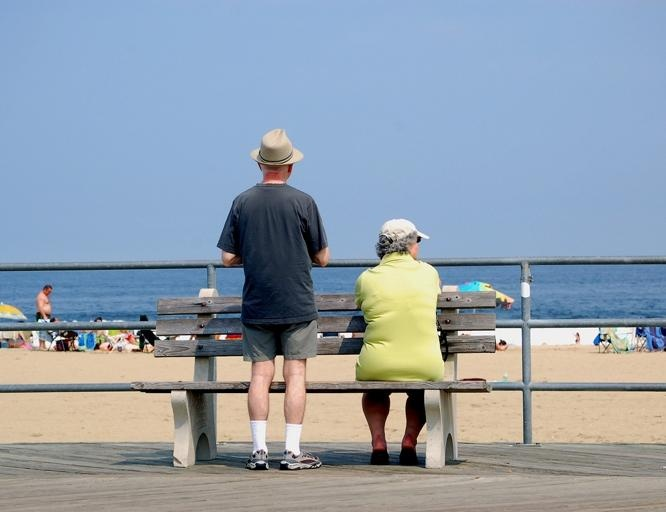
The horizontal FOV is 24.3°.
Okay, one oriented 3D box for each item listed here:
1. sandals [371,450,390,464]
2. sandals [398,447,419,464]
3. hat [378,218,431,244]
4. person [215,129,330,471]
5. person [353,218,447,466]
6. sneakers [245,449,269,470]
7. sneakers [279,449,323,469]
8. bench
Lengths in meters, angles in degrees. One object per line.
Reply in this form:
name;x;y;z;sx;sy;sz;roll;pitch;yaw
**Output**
sandals;0.424;1.769;13.619;0.173;0.136;0.182;-3;-6;1
sandals;0.686;1.758;13.629;0.171;0.157;0.092;-2;-6;-7
hat;0.630;-0.223;13.758;0.341;0.123;0.216;-1;8;-18
person;-0.475;0.607;13.573;0.948;2.515;0.326;-3;-6;-1
person;0.600;0.748;13.712;0.790;2.197;0.393;-3;-6;2
sneakers;-0.650;1.772;13.472;0.194;0.174;0.198;-2;-6;-4
sneakers;-0.273;1.768;13.509;0.365;0.157;0.143;-1;0;-9
bench;-0.153;1.136;13.729;3.153;1.584;1.252;-1;-2;8
